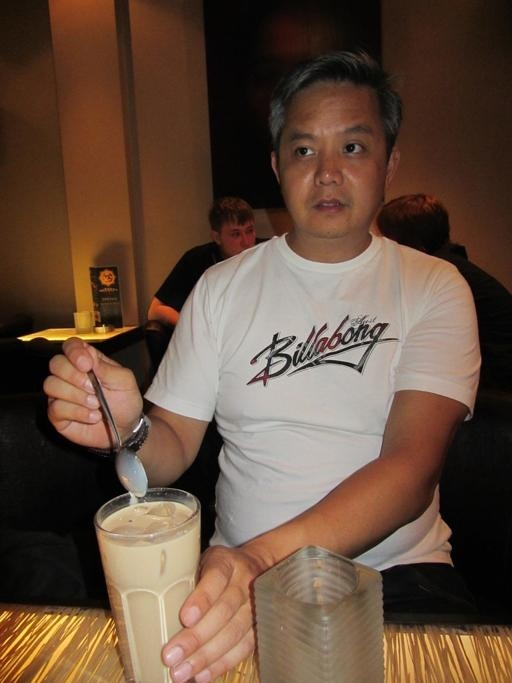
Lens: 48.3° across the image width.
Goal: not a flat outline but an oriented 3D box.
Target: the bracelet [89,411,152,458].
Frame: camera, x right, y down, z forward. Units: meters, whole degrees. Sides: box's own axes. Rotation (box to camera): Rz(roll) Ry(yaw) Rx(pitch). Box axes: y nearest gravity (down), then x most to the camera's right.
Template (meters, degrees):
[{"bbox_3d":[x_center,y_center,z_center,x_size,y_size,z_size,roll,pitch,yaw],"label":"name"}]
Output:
[{"bbox_3d":[-0.260,0.195,1.125,0.091,0.106,0.052,-9,-17,35],"label":"bracelet"}]

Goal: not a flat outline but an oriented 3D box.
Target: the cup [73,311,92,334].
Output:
[{"bbox_3d":[-1.040,-0.116,3.435,0.131,0.142,0.120,1,11,0],"label":"cup"}]
